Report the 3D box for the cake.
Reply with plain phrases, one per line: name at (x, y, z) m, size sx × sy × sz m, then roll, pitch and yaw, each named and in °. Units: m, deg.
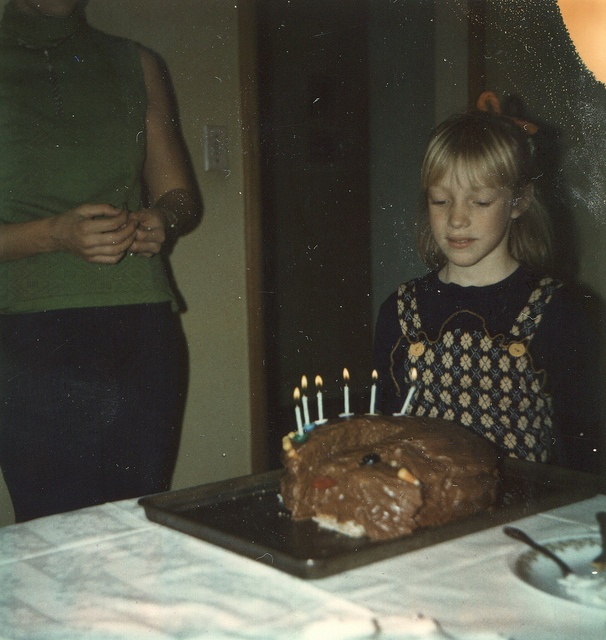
cake at (0.103, 0.189, 1.016) m, size 0.159 × 0.057 × 0.168 m, roll -2°, pitch 7°, yaw -2°
